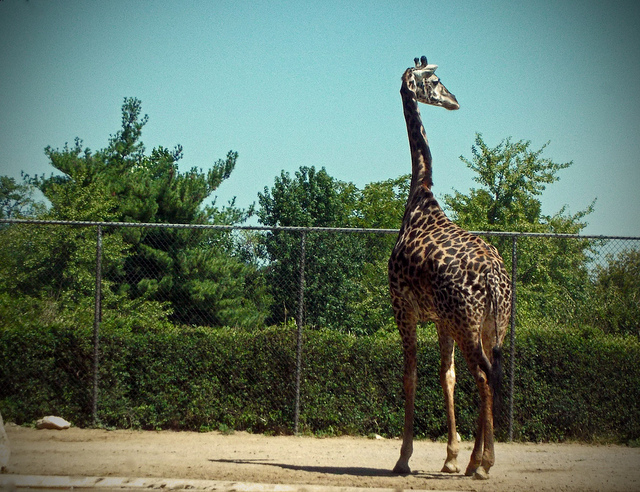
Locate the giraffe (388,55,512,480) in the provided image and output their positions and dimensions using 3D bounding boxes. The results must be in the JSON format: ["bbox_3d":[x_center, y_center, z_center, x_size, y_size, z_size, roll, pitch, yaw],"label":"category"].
[{"bbox_3d":[2.106,0.261,13.145,1.517,7.183,2.440,1,-3,-29],"label":"giraffe"}]
